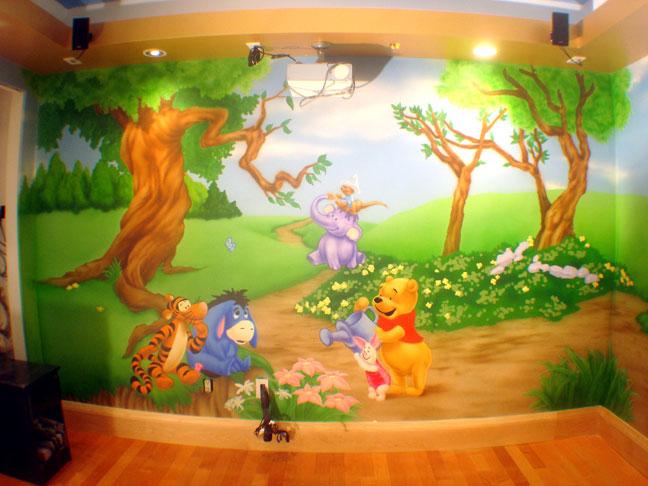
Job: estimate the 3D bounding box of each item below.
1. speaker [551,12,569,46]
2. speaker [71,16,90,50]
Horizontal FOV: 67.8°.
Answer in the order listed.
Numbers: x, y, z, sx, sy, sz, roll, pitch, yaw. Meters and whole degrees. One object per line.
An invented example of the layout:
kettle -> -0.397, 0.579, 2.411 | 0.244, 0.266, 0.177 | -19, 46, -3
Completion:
speaker -> 1.949, -1.756, 3.979 | 0.148, 0.251, 0.049 | -3, 5, -12
speaker -> -2.054, -1.767, 4.090 | 0.158, 0.259, 0.133 | -1, 6, -22
